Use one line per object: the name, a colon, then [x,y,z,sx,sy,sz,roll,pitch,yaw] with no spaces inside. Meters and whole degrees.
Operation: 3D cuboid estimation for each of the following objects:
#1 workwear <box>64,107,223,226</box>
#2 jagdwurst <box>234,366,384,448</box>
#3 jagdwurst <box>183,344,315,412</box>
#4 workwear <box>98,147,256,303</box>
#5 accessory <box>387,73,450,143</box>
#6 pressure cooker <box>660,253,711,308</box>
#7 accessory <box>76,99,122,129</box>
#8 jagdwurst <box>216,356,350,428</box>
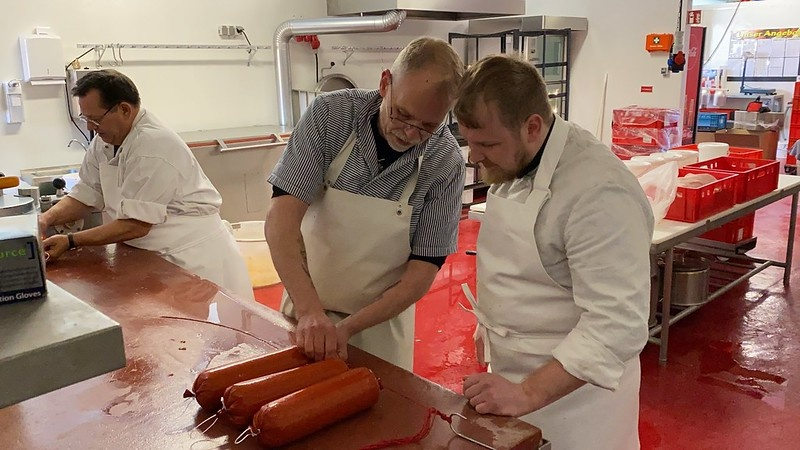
workwear: [-1.758,-0.346,3.395,0.832,0.804,0.941,-12,16,-33]
jagdwurst: [-0.301,0.679,1.905,0.647,0.184,0.182,-17,30,-23]
jagdwurst: [-0.532,0.569,2.044,0.633,0.165,0.166,-11,45,-26]
workwear: [-1.525,-0.223,3.919,1.070,1.484,1.146,-6,15,-12]
accessory: [0.077,-0.587,2.274,0.311,0.307,0.094,13,-22,-39]
pressure cooker: [2.494,0.468,4.428,0.470,0.470,0.454,-1,7,0]
accessory: [-1.902,-0.696,3.101,0.269,0.142,0.113,6,19,22]
jagdwurst: [-0.393,0.620,2.004,0.609,0.174,0.173,-14,30,-29]
